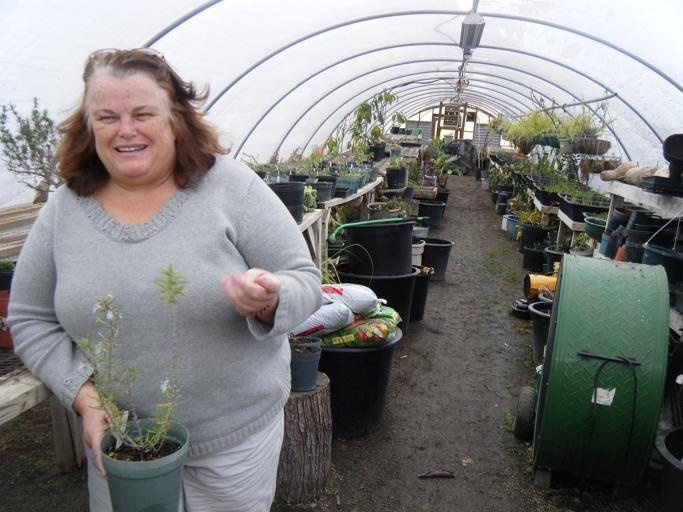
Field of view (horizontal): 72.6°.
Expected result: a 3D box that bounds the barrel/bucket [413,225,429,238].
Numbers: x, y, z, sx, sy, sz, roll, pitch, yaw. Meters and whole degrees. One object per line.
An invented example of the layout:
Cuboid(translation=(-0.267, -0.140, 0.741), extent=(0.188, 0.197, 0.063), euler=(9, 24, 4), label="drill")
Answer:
Cuboid(translation=(1.205, -0.369, 7.216), extent=(0.270, 0.153, 0.261), euler=(-2, 9, 0), label="barrel/bucket")

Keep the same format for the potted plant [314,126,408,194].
Cuboid(translation=(0.300, -1.631, 7.890), extent=(1.588, 0.596, 2.333), euler=(-5, 10, 10), label="potted plant")

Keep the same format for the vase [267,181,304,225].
Cuboid(translation=(-0.393, -0.449, 4.064), extent=(0.426, 0.405, 0.409), euler=(-4, 8, -5), label="vase")
